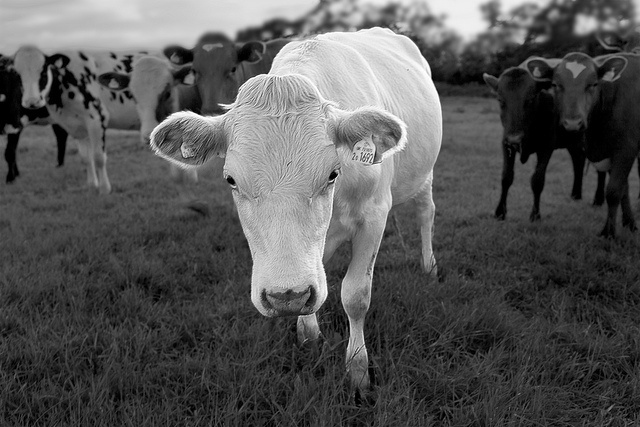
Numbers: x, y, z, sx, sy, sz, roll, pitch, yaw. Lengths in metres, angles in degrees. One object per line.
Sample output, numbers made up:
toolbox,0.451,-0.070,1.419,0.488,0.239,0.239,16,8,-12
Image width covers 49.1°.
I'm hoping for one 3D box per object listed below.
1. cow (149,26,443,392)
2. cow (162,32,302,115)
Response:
cow,0.247,-0.184,8.048,2.027,3.693,4.863,0,17,17
cow,-1.445,-2.265,11.588,0.997,1.374,2.621,-3,7,11
